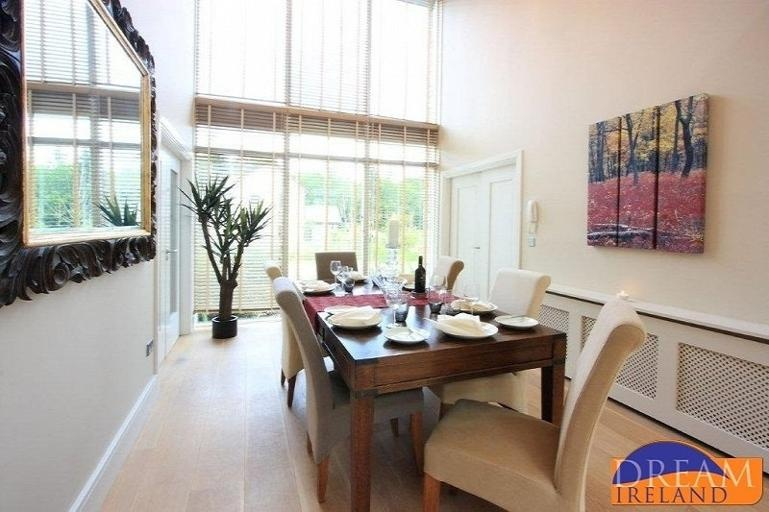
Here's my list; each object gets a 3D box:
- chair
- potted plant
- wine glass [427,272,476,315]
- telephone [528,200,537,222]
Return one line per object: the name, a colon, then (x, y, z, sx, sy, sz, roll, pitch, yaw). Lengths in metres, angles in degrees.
chair: (0.251, 0.813, 3.126, 1.882, 1.338, 1.561, 0, 6, -6)
potted plant: (-1.739, -0.023, 5.464, 0.910, 1.746, 0.867, -1, 7, -14)
wine glass: (0.464, 0.269, 3.348, 0.210, 0.207, 0.310, -7, -16, 38)
telephone: (1.440, -0.438, 4.831, 0.092, 0.211, 0.055, 2, 7, 10)
